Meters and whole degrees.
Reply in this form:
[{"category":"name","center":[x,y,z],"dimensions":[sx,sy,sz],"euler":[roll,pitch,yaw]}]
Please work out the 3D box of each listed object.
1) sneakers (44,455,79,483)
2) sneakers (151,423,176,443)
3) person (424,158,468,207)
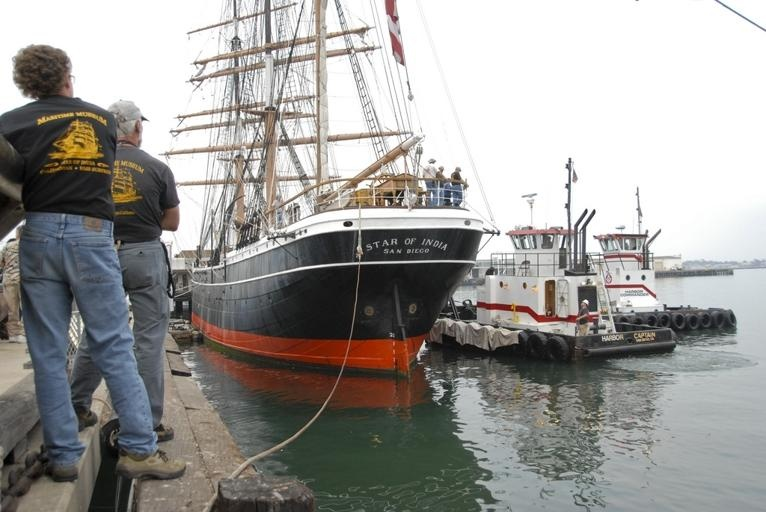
[{"category":"sneakers","center":[-2.896,1.902,5.096],"dimensions":[0.162,0.219,0.321],"euler":[-1,8,-25]},{"category":"sneakers","center":[-2.343,1.909,6.050],"dimensions":[0.142,0.183,0.384],"euler":[2,0,-15]},{"category":"person","center":[1.684,-2.075,16.217],"dimensions":[1.120,1.486,1.559],"euler":[-1,1,19]}]
